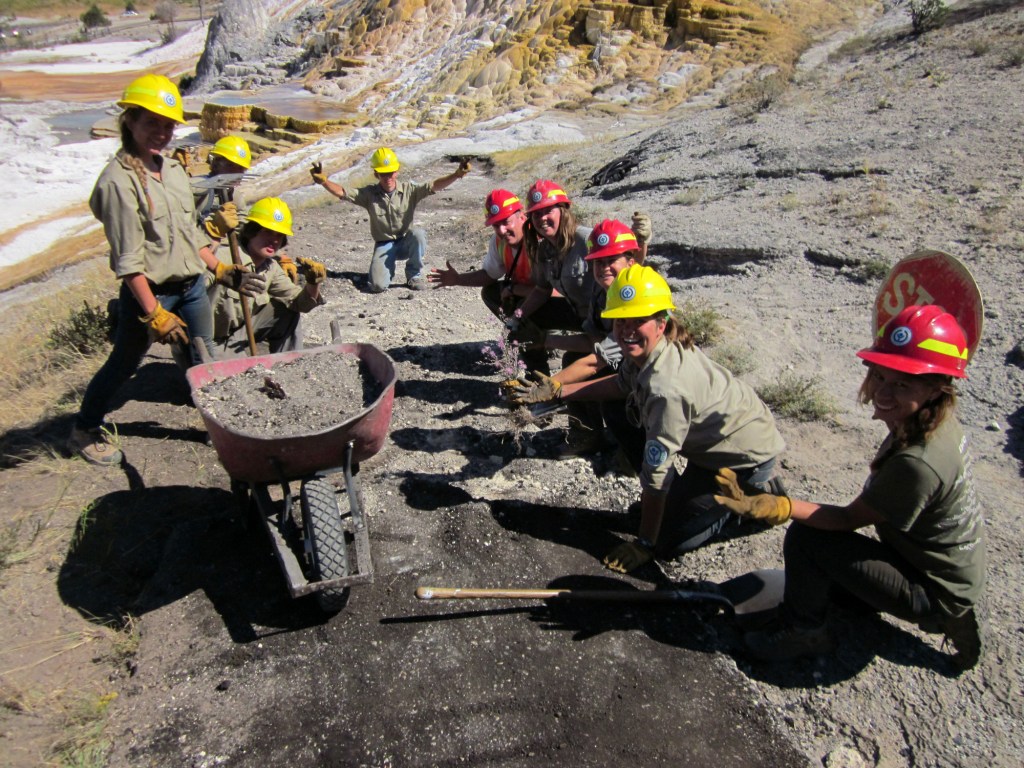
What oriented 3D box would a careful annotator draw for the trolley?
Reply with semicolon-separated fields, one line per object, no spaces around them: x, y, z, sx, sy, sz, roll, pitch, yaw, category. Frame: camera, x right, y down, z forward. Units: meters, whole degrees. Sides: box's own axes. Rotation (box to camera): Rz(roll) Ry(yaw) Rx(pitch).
-1.620;0.387;6.207;1.459;1.135;2.994;-9;28;-20;trolley

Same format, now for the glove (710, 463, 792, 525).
1.692;0.763;5.503;0.732;0.217;0.346;13;27;-28;glove

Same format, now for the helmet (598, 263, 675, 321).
0.938;-0.627;5.814;0.371;0.258;0.484;6;3;31;helmet

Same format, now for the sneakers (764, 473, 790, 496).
1.923;0.728;6.052;0.192;0.155;0.146;0;-12;-6;sneakers

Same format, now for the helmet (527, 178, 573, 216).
0.367;-1.596;7.090;0.387;0.237;0.480;4;12;42;helmet

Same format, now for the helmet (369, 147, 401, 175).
-1.477;-2.575;9.609;0.279;0.373;0.504;-15;36;-10;helmet

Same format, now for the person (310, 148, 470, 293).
-1.355;-1.938;9.866;2.110;1.467;0.930;0;20;12;person

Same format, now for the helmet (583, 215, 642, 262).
0.835;-1.162;6.642;0.338;0.210;0.404;3;14;28;helmet

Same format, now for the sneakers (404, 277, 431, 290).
-1.146;-1.208;9.948;0.294;0.117;0.151;1;14;31;sneakers

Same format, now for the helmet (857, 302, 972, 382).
2.582;-0.236;5.192;0.624;0.307;0.481;14;5;-37;helmet

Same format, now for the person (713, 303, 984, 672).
2.408;0.717;5.413;1.368;2.169;1.105;2;39;13;person

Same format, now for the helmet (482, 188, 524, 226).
-0.058;-1.564;7.323;0.267;0.203;0.352;2;21;37;helmet

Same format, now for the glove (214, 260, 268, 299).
-2.216;-0.870;6.831;0.385;0.286;0.094;11;60;29;glove

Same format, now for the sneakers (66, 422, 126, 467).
-3.381;0.507;6.889;0.471;0.287;0.255;23;14;-19;sneakers

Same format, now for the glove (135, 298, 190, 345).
-2.678;-0.462;6.321;0.177;0.363;0.285;27;77;9;glove

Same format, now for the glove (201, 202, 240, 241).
-2.476;-1.411;7.151;0.313;0.145;0.373;-4;24;-1;glove

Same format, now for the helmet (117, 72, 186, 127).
-2.674;-2.187;6.228;0.404;0.239;0.479;-6;22;-43;helmet
